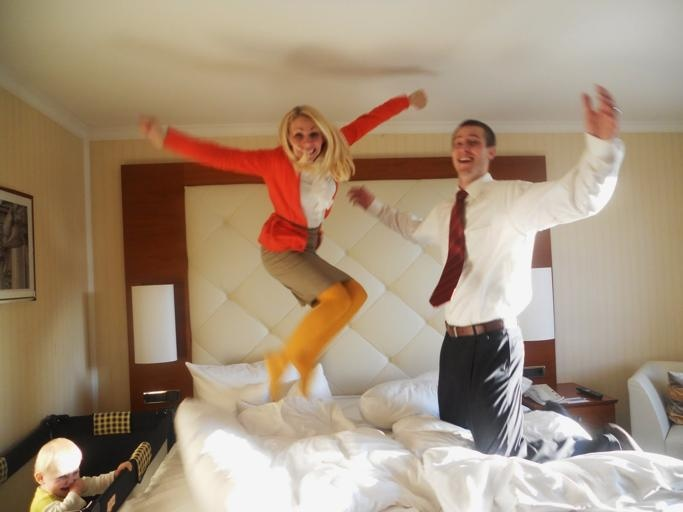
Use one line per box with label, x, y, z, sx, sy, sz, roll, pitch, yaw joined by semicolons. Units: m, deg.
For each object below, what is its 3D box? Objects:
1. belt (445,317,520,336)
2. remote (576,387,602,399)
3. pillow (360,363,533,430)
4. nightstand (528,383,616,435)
belt;0.759;0.388;2.848;0.383;0.087;0.149;-4;-7;16
remote;1.834;1.014;3.881;0.058;0.028;0.123;-7;11;-32
pillow;0.565;0.955;3.639;0.808;0.249;0.455;-6;6;-23
nightstand;1.704;1.101;3.905;0.492;0.473;0.383;-1;4;-1
